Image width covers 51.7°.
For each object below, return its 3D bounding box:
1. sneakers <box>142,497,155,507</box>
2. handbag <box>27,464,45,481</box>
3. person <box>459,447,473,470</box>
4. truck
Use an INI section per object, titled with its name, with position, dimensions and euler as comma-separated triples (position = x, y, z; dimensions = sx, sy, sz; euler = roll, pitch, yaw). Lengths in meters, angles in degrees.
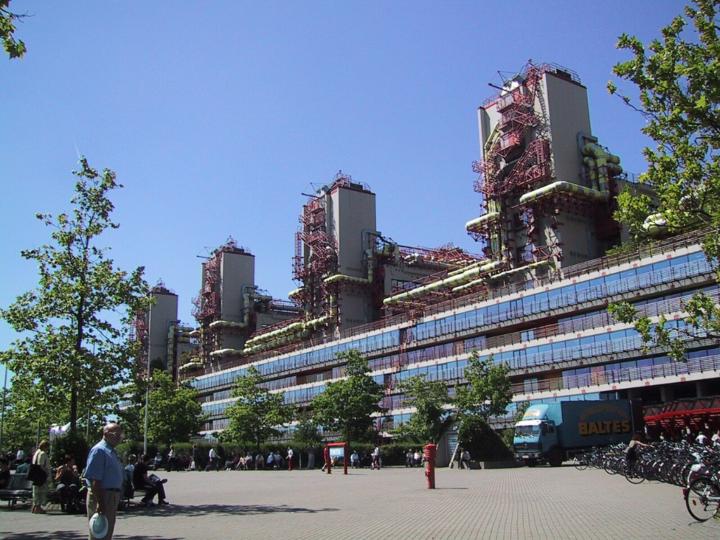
[sneakers]
position = -7.436, 8.018, 25.686
dimensions = 0.667, 0.287, 0.223
euler = 0, 4, -17
[handbag]
position = -10.283, 6.425, 23.609
dimensions = 0.407, 0.682, 0.387
euler = -15, -22, -13
[person]
position = 7.652, 13.534, 53.156
dimensions = 0.989, 1.260, 0.871
euler = -13, -20, 27
[truck]
position = 15.142, 11.429, 51.925
dimensions = 10.445, 5.140, 3.764
euler = 5, -17, -25
